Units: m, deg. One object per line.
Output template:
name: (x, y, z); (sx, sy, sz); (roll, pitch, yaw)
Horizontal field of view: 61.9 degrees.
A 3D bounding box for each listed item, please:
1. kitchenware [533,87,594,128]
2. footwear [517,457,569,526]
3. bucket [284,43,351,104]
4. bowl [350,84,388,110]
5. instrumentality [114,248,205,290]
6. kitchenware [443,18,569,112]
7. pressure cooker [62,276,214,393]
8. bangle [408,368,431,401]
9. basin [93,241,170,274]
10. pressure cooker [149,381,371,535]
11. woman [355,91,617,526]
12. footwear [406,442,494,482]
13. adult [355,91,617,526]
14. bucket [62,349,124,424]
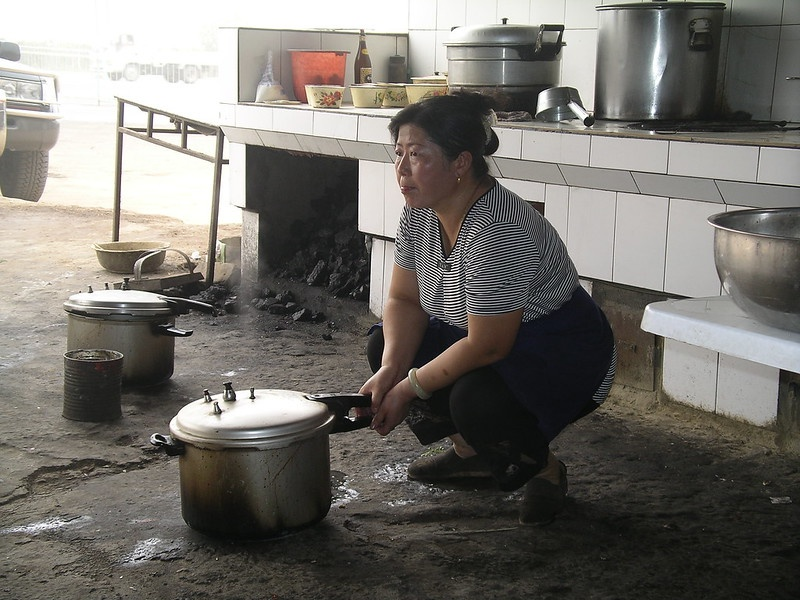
kitchenware: (0.887, -1.043, 3.608); (0.228, 0.126, 0.347); (-4, 17, -9)
footwear: (0.557, 0.748, 2.573); (0.157, 0.144, 0.386); (-2, 14, 28)
bucket: (-0.626, -1.757, 5.211); (0.410, 0.301, 0.405); (-1, 12, 0)
bowl: (-0.227, -1.401, 4.654); (0.192, 0.097, 0.191); (0, 12, 0)
instrumentality: (-1.833, -0.200, 5.209); (0.381, 0.235, 0.601); (-1, 1, 7)
kitchenware: (0.574, -1.402, 3.961); (0.731, 0.529, 0.872); (-13, 20, -36)
pressure cooker: (-1.419, 0.216, 3.644); (0.805, 0.488, 0.527); (2, -1, 15)
bangle: (0.053, 0.305, 2.364); (0.026, 0.095, 0.094); (-22, 27, 1)
basin: (-2.249, -0.297, 5.419); (0.386, 0.169, 0.404); (-1, -5, 0)
pressure cooker: (-0.449, 0.541, 2.392); (0.787, 0.375, 0.438); (-3, 6, -28)
woman: (0.286, 0.014, 2.583); (1.048, 1.500, 0.934); (-9, 10, -26)
footwear: (0.232, 0.672, 2.791); (0.383, 0.153, 0.141); (-4, 6, 24)
adult: (0.294, 0.010, 2.587); (1.022, 1.506, 0.911); (-11, 11, -32)
bucket: (-1.483, 0.404, 3.244); (0.326, 0.353, 0.332); (2, -1, 0)
